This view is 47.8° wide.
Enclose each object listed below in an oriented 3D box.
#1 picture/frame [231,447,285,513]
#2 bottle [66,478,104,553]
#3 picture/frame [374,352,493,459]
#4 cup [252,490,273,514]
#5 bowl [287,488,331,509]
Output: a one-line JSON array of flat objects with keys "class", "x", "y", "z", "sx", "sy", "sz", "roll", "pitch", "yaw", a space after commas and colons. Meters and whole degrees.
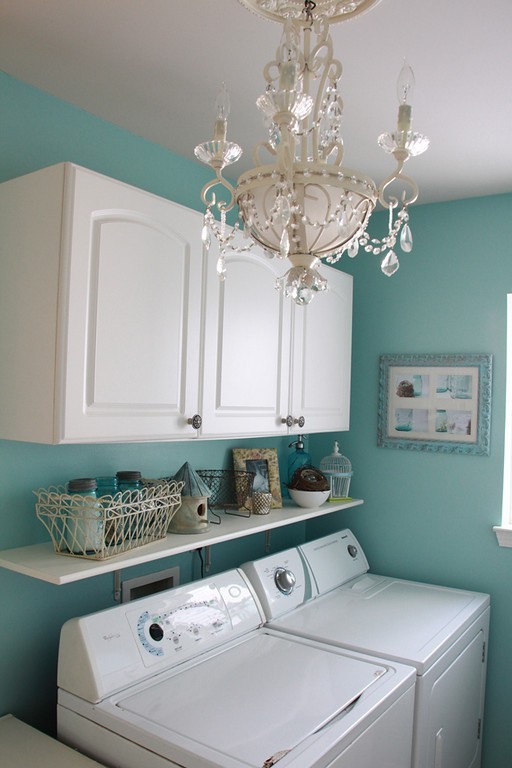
[{"class": "picture/frame", "x": 0.006, "y": 0.364, "z": 2.219, "sx": 0.229, "sy": 0.220, "sz": 0.017, "roll": -9, "pitch": -5, "yaw": 42}, {"class": "bottle", "x": -0.435, "y": 0.327, "z": 1.415, "sx": 0.106, "sy": 0.178, "sz": 0.108, "roll": -7, "pitch": -22, "yaw": -3}, {"class": "picture/frame", "x": 0.768, "y": 0.091, "z": 2.434, "sx": 0.470, "sy": 0.445, "sz": 0.037, "roll": 0, "pitch": -4, "yaw": 39}, {"class": "cup", "x": 0.013, "y": 0.429, "z": 2.094, "sx": 0.073, "sy": 0.080, "sz": 0.072, "roll": 3, "pitch": -6, "yaw": 0}, {"class": "bowl", "x": 0.196, "y": 0.427, "z": 2.241, "sx": 0.100, "sy": 0.043, "sz": 0.101, "roll": 1, "pitch": -8, "yaw": 0}]
